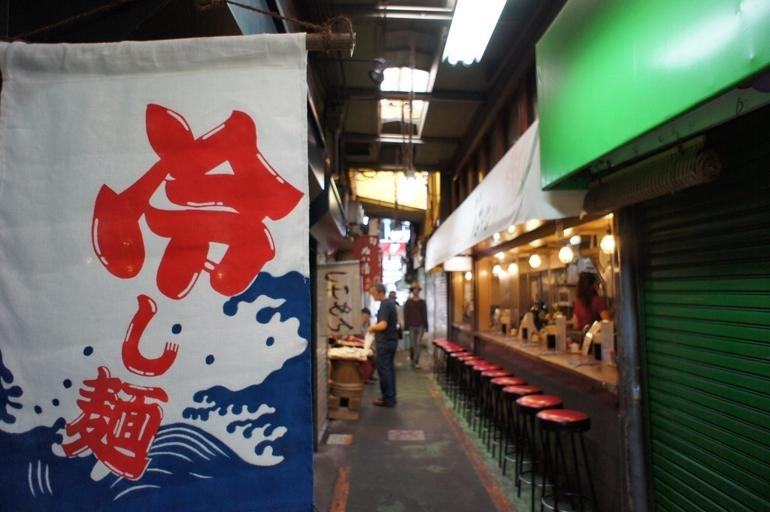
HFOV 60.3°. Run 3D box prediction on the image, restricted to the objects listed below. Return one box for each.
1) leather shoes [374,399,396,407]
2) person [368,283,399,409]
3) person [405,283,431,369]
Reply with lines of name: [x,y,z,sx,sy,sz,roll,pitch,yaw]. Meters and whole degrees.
leather shoes: [0.003,2.175,9.886,0.326,0.139,0.120,6,-4,4]
person: [-0.055,1.336,10.085,0.639,1.861,0.638,-3,-6,26]
person: [0.673,1.489,14.228,0.486,1.896,1.172,0,3,2]
